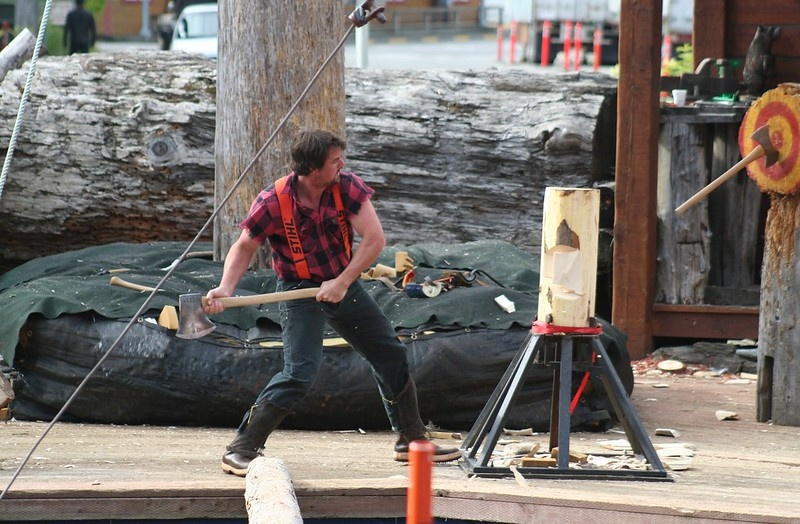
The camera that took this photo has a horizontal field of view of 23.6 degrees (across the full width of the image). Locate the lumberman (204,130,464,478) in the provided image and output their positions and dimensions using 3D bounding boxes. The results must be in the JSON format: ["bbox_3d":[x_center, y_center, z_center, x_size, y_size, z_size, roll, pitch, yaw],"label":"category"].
[{"bbox_3d":[-0.721,0.346,17.737,1.922,3.144,0.653,0,9,-5],"label":"lumberman"}]

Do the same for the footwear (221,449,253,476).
[{"bbox_3d":[-1.472,1.848,17.571,0.348,0.213,0.249,1,8,5],"label":"footwear"}]

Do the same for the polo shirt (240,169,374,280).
[{"bbox_3d":[-0.817,-0.332,17.934,1.347,0.922,0.598,-10,21,-22],"label":"polo shirt"}]

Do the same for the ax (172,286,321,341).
[{"bbox_3d":[-1.412,0.457,17.917,1.510,0.399,0.072,-4,-9,-32],"label":"ax"}]

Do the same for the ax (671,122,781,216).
[{"bbox_3d":[3.019,-1.006,18.784,1.121,0.535,0.708,-33,-2,-1],"label":"ax"}]

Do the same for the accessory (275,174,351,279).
[{"bbox_3d":[-0.905,-0.324,17.988,0.605,1.000,0.244,-12,15,-6],"label":"accessory"}]
